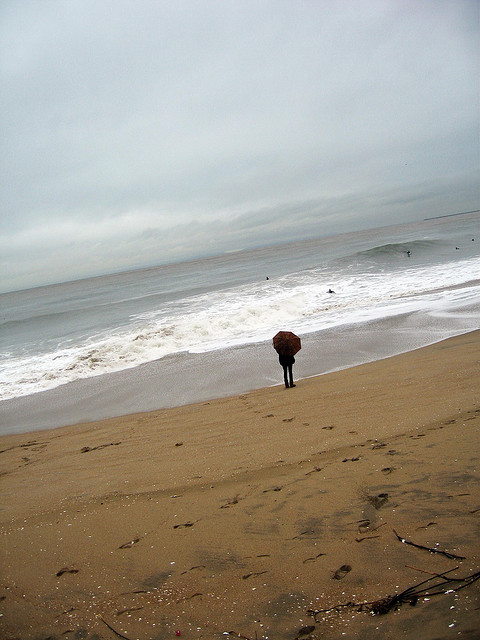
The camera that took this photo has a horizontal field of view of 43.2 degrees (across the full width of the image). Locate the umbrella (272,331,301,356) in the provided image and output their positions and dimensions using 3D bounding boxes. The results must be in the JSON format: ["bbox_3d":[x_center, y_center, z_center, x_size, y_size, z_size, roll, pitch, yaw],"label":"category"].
[{"bbox_3d":[0.822,0.428,10.696,0.440,0.380,0.322,-11,3,3],"label":"umbrella"}]
